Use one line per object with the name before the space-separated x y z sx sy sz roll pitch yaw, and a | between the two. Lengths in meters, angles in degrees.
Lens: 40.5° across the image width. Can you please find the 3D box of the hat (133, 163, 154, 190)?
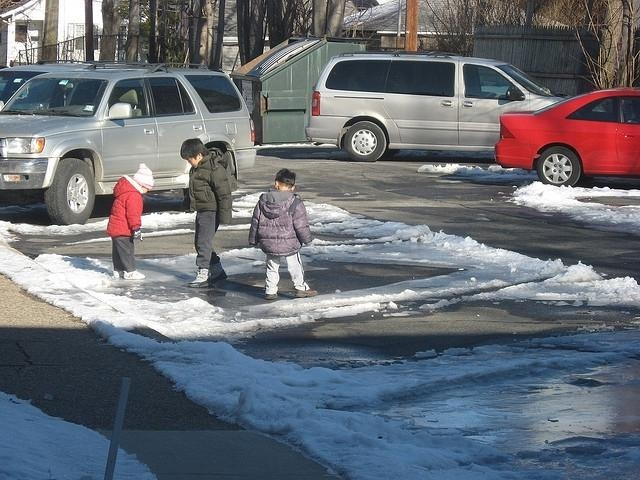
hat | -1.978 -0.736 9.636 0.205 0.310 0.761 -1 14 -13

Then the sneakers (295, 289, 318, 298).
sneakers | -0.156 0.554 8.902 0.206 0.072 0.073 -3 5 -18

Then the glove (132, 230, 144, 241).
glove | -2.111 -0.052 9.988 0.184 0.141 0.109 1 5 14

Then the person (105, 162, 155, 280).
person | -2.072 -0.209 9.442 0.475 1.251 0.528 0 16 -10

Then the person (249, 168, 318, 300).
person | -0.383 -0.053 8.919 0.708 1.329 0.531 1 16 -5

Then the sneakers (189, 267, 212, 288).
sneakers | -1.282 0.400 9.262 0.266 0.203 0.140 -5 17 -27

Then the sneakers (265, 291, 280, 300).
sneakers | -0.508 0.571 8.869 0.098 0.091 0.237 1 -3 10

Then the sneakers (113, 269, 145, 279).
sneakers | -2.072 0.371 9.396 0.331 0.107 0.115 0 5 -1
